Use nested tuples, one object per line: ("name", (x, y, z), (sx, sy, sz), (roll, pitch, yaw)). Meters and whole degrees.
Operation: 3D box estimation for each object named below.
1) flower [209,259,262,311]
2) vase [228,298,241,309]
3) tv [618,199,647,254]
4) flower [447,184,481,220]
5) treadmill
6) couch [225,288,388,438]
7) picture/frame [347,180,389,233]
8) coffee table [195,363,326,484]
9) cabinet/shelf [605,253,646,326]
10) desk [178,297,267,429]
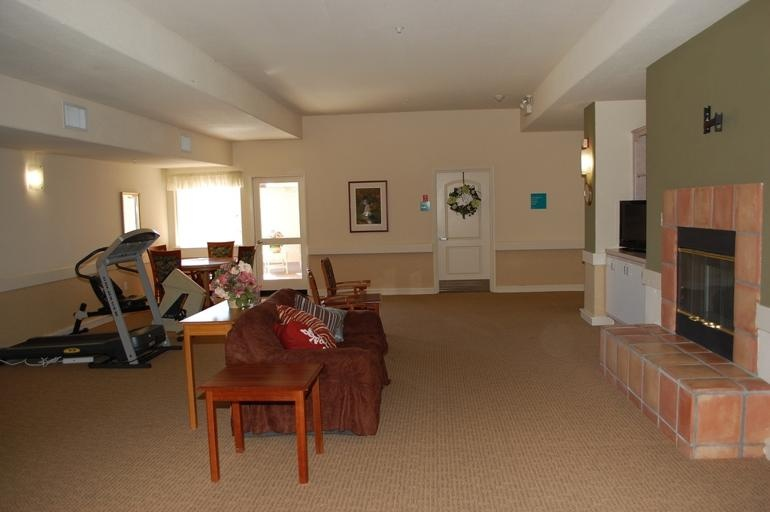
("flower", (-1.617, 0.309, 5.753), (0.507, 0.501, 0.513), (0, 6, -4))
("vase", (-1.622, 0.514, 5.586), (0.174, 0.127, 0.096), (0, 0, 2))
("tv", (3.324, -0.391, 7.005), (0.198, 0.624, 0.614), (-6, 14, -17))
("flower", (1.589, -1.102, 10.483), (0.657, 0.710, 0.156), (0, 15, 8))
("treadmill", (-3.737, 0.504, 6.735), (1.778, 1.675, 0.898), (-1, 15, 3))
("couch", (-0.688, 1.364, 5.211), (1.220, 0.891, 1.936), (0, 8, 1))
("picture/frame", (-0.312, -1.003, 10.093), (0.981, 1.261, 0.081), (0, 1, 0))
("coffee table", (-0.987, 1.352, 4.635), (0.965, 0.918, 0.978), (1, 10, 5))
("cabinet/shelf", (3.165, 0.421, 6.862), (0.320, 0.873, 0.929), (1, 5, 6))
("desk", (-1.587, 1.072, 5.109), (0.473, 0.990, 1.122), (-1, 7, -4))
